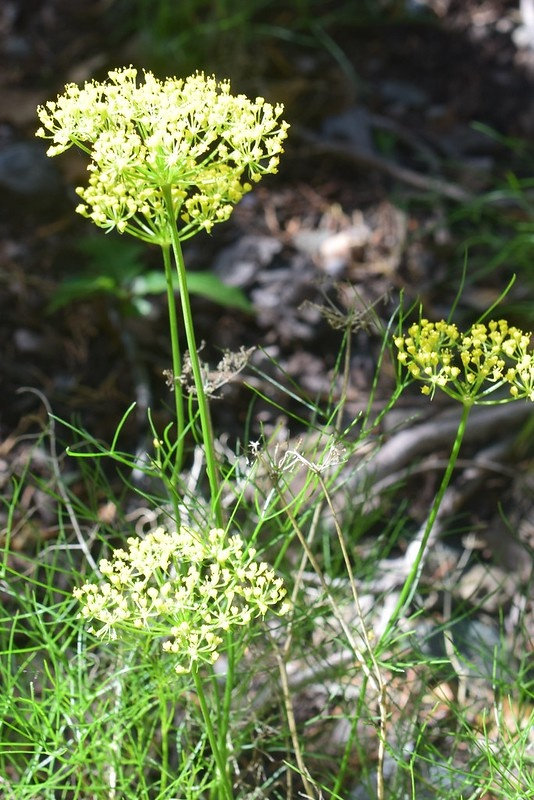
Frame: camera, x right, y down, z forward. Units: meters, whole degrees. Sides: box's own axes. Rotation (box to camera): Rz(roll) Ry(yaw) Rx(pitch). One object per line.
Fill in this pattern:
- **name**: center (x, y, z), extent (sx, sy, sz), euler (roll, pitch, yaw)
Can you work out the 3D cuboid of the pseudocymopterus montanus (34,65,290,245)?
- **pseudocymopterus montanus**: center (-0.141, -0.296, 0.968), extent (0.273, 0.276, 0.338), euler (-14, 35, -12)
